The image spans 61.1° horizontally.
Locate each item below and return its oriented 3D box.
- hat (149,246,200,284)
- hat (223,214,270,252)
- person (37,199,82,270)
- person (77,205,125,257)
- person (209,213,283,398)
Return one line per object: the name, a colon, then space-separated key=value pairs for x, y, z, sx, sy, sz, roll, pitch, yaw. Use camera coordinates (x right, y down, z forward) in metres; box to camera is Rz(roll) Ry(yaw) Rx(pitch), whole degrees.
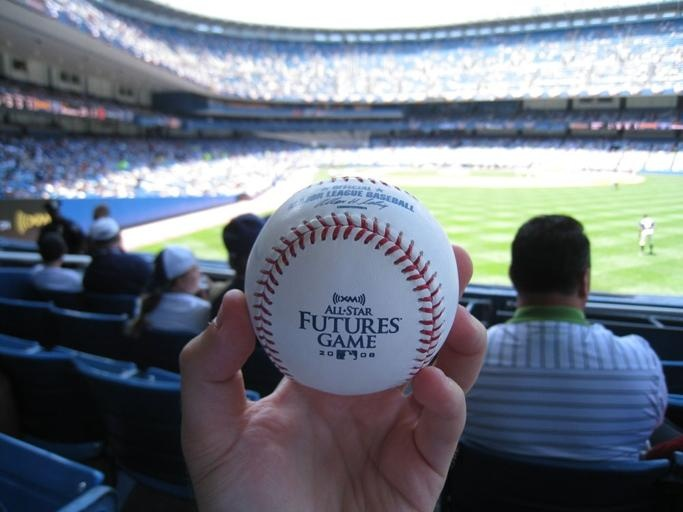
hat: x=-1.280 y=0.046 z=4.409 sx=0.314 sy=0.260 sz=0.262 roll=-7 pitch=13 yaw=-34
hat: x=-0.771 y=-0.203 z=4.490 sx=0.373 sy=0.374 sz=0.308 roll=5 pitch=21 yaw=15
person: x=-3.177 y=-0.180 z=6.675 sx=0.401 sy=0.875 sz=0.328 roll=-1 pitch=17 yaw=7
person: x=-2.590 y=-0.254 z=6.138 sx=0.323 sy=0.730 sz=0.420 roll=9 pitch=3 yaw=11
person: x=-0.652 y=0.385 z=4.125 sx=0.562 sy=1.290 sz=0.574 roll=10 pitch=14 yaw=34
